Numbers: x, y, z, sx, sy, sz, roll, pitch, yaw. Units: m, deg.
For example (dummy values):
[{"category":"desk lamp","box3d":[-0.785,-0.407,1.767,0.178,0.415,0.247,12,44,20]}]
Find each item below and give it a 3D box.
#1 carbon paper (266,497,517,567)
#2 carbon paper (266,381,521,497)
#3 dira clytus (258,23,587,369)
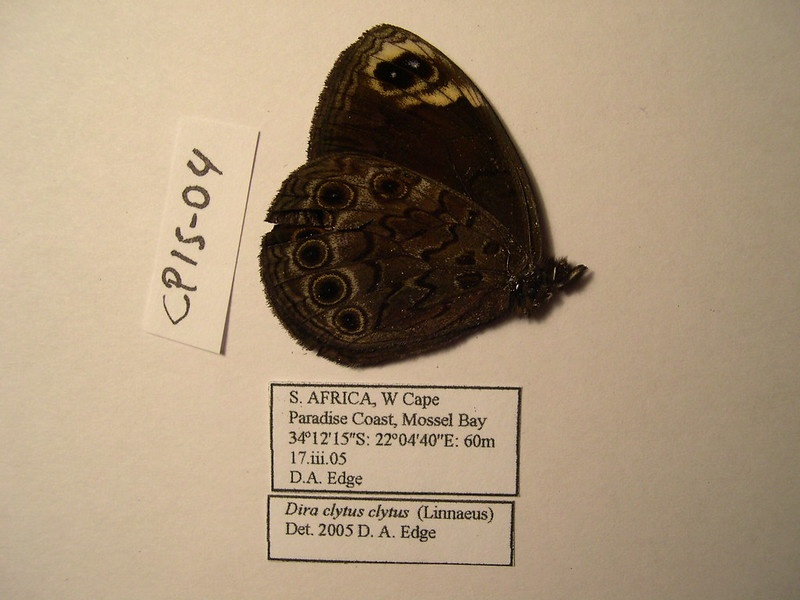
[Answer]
[{"category":"carbon paper","box3d":[-0.020,0.508,2.253,0.536,0.004,0.167,2,51,-7]},{"category":"carbon paper","box3d":[-0.015,0.313,2.245,0.554,0.245,0.006,-1,1,12]},{"category":"dira clytus","box3d":[0.019,-0.237,2.212,0.693,0.691,0.251,-9,22,1]}]
